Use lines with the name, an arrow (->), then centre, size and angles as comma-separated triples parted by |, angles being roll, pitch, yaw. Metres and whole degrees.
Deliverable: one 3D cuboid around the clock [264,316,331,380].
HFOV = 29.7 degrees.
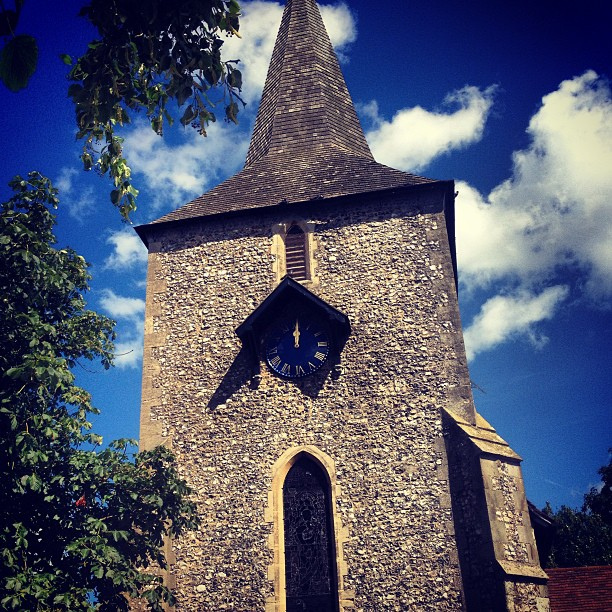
clock -> -0.128, 0.962, 25.598 | 1.651, 1.525, 0.173 | -4, -32, 14
